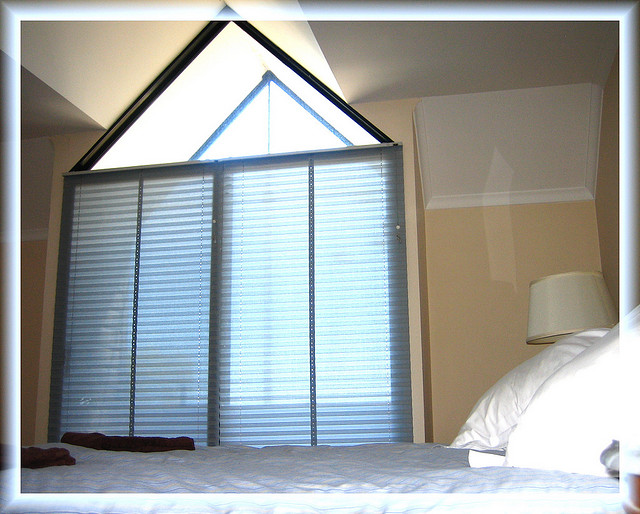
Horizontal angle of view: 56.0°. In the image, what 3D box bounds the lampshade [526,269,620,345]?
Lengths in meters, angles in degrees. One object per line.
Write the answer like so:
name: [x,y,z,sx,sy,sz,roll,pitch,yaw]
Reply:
lampshade: [1.114,0.198,2.600,0.421,0.211,0.393,-1,-8,-36]
